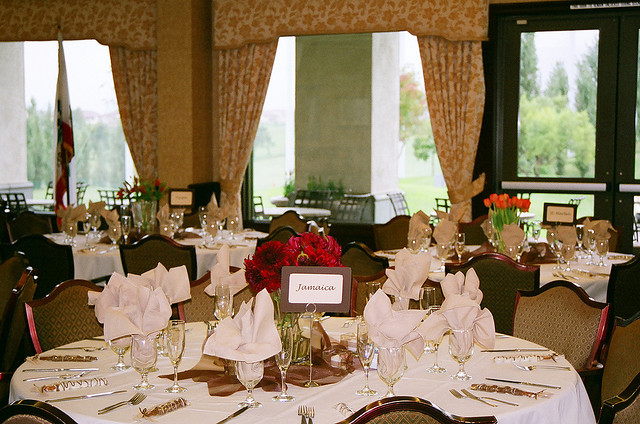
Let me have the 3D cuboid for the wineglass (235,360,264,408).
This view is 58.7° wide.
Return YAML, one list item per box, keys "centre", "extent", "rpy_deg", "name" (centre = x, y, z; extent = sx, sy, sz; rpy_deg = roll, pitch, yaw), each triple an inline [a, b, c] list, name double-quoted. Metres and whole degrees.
- centre: [-0.339, 0.825, 2.772]
  extent: [0.119, 0.248, 0.130]
  rpy_deg: [7, 10, 26]
  name: "wineglass"

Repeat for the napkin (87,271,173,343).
- centre: [-0.976, 0.499, 2.990]
  extent: [0.338, 0.193, 0.381]
  rpy_deg: [10, 30, -12]
  name: "napkin"

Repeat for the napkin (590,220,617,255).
- centre: [2.591, 0.230, 5.288]
  extent: [0.242, 0.430, 0.322]
  rpy_deg: [-1, -1, 42]
  name: "napkin"

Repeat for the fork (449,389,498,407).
- centre: [0.772, 0.931, 2.845]
  extent: [0.225, 0.013, 0.070]
  rpy_deg: [10, 21, 42]
  name: "fork"

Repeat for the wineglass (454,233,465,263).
- centre: [1.280, 0.306, 5.237]
  extent: [0.085, 0.272, 0.220]
  rpy_deg: [3, 12, 16]
  name: "wineglass"

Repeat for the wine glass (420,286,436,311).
- centre: [0.607, 0.494, 3.224]
  extent: [0.080, 0.124, 0.220]
  rpy_deg: [1, 12, 9]
  name: "wine glass"

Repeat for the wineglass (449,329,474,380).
- centre: [0.767, 0.739, 3.041]
  extent: [0.114, 0.287, 0.197]
  rpy_deg: [7, 13, 32]
  name: "wineglass"

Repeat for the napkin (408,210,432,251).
- centre: [0.914, 0.162, 5.208]
  extent: [0.183, 0.273, 0.481]
  rpy_deg: [2, 12, 11]
  name: "napkin"

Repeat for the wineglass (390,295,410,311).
- centre: [0.458, 0.528, 3.300]
  extent: [0.084, 0.111, 0.112]
  rpy_deg: [4, -14, -15]
  name: "wineglass"

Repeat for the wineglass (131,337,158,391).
- centre: [-0.904, 0.773, 2.918]
  extent: [0.125, 0.310, 0.159]
  rpy_deg: [-6, 13, -28]
  name: "wineglass"

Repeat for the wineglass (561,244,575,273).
- centre: [2.184, 0.393, 5.030]
  extent: [0.102, 0.240, 0.268]
  rpy_deg: [5, 12, 23]
  name: "wineglass"

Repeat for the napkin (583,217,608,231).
- centre: [2.547, 0.087, 5.340]
  extent: [0.184, 0.112, 0.115]
  rpy_deg: [7, 14, -33]
  name: "napkin"

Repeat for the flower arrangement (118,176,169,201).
- centre: [-2.039, -0.262, 6.514]
  extent: [0.525, 0.270, 0.502]
  rpy_deg: [11, 16, 44]
  name: "flower arrangement"

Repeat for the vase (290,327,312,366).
- centre: [-0.099, 0.729, 3.156]
  extent: [0.147, 0.208, 0.170]
  rpy_deg: [2, 5, 6]
  name: "vase"

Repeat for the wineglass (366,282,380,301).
- centre: [0.296, 0.448, 3.206]
  extent: [0.069, 0.144, 0.080]
  rpy_deg: [0, 1, -2]
  name: "wineglass"

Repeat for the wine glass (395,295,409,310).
- centre: [0.478, 0.527, 3.298]
  extent: [0.060, 0.089, 0.087]
  rpy_deg: [-1, -11, 5]
  name: "wine glass"

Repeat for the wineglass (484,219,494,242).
- centre: [1.577, 0.182, 5.425]
  extent: [0.089, 0.181, 0.166]
  rpy_deg: [0, -10, 12]
  name: "wineglass"

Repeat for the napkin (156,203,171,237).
- centre: [-1.705, 0.096, 6.213]
  extent: [0.130, 0.322, 0.234]
  rpy_deg: [-4, 12, -19]
  name: "napkin"

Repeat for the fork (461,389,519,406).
- centre: [0.861, 0.936, 2.863]
  extent: [0.034, 0.027, 0.251]
  rpy_deg: [-27, 18, -38]
  name: "fork"

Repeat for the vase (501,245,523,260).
- centre: [1.674, 0.344, 4.955]
  extent: [0.115, 0.117, 0.133]
  rpy_deg: [3, 3, 39]
  name: "vase"

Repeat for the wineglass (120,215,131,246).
- centre: [-2.058, 0.181, 6.033]
  extent: [0.088, 0.330, 0.290]
  rpy_deg: [-4, 12, -17]
  name: "wineglass"

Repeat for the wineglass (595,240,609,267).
- centre: [2.576, 0.353, 5.215]
  extent: [0.115, 0.251, 0.259]
  rpy_deg: [5, 13, 27]
  name: "wineglass"

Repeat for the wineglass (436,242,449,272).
- centre: [1.094, 0.376, 5.079]
  extent: [0.103, 0.264, 0.300]
  rpy_deg: [2, 12, 13]
  name: "wineglass"

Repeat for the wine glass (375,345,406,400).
- centre: [0.349, 0.790, 2.816]
  extent: [0.141, 0.287, 0.148]
  rpy_deg: [-1, 5, -34]
  name: "wine glass"

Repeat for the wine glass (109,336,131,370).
- centre: [-1.086, 0.736, 3.102]
  extent: [0.118, 0.233, 0.131]
  rpy_deg: [-1, 3, -24]
  name: "wine glass"

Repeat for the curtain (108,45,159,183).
- centre: [-2.776, -1.528, 8.701]
  extent: [0.837, 1.982, 0.313]
  rpy_deg: [5, 12, 24]
  name: "curtain"

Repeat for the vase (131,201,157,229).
- centre: [-1.951, 0.081, 6.457]
  extent: [0.242, 0.332, 0.273]
  rpy_deg: [-3, -4, 15]
  name: "vase"

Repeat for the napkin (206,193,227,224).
- centre: [-1.154, -0.029, 6.212]
  extent: [0.179, 0.256, 0.513]
  rpy_deg: [-1, 12, -2]
  name: "napkin"

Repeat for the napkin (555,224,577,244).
- centre: [2.174, 0.212, 5.065]
  extent: [0.155, 0.207, 0.073]
  rpy_deg: [7, -2, 6]
  name: "napkin"

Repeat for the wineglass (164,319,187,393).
- centre: [-0.762, 0.736, 2.963]
  extent: [0.118, 0.371, 0.184]
  rpy_deg: [-4, 12, -16]
  name: "wineglass"

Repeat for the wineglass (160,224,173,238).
- centre: [-1.682, 0.206, 6.265]
  extent: [0.113, 0.165, 0.128]
  rpy_deg: [3, 2, 7]
  name: "wineglass"

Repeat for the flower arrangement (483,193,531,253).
- centre: [1.713, 0.130, 5.306]
  extent: [0.441, 0.913, 0.509]
  rpy_deg: [2, 5, 20]
  name: "flower arrangement"

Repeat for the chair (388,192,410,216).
- centre: [1.218, -0.130, 8.756]
  extent: [0.280, 0.595, 0.316]
  rpy_deg: [-3, 11, 7]
  name: "chair"

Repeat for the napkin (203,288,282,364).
- centre: [-0.335, 0.580, 2.715]
  extent: [0.330, 0.165, 0.440]
  rpy_deg: [15, 25, 33]
  name: "napkin"

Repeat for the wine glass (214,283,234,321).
- centre: [-0.549, 0.525, 3.253]
  extent: [0.100, 0.228, 0.265]
  rpy_deg: [-2, 12, -10]
  name: "wine glass"

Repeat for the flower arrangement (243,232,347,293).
- centre: [-0.162, 0.245, 3.029]
  extent: [0.329, 0.238, 0.372]
  rpy_deg: [0, -4, -9]
  name: "flower arrangement"

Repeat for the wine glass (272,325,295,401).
- centre: [-0.192, 0.778, 2.959]
  extent: [0.111, 0.301, 0.318]
  rpy_deg: [-1, 11, -3]
  name: "wine glass"

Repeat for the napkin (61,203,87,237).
- centre: [-2.625, 0.003, 6.023]
  extent: [0.236, 0.137, 0.289]
  rpy_deg: [2, -36, -9]
  name: "napkin"

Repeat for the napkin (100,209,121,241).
- centre: [-2.166, 0.134, 5.926]
  extent: [0.163, 0.310, 0.335]
  rpy_deg: [-7, 13, -28]
  name: "napkin"

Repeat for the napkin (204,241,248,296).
- centre: [-0.575, 0.347, 3.438]
  extent: [0.254, 0.359, 0.298]
  rpy_deg: [2, -4, -8]
  name: "napkin"
